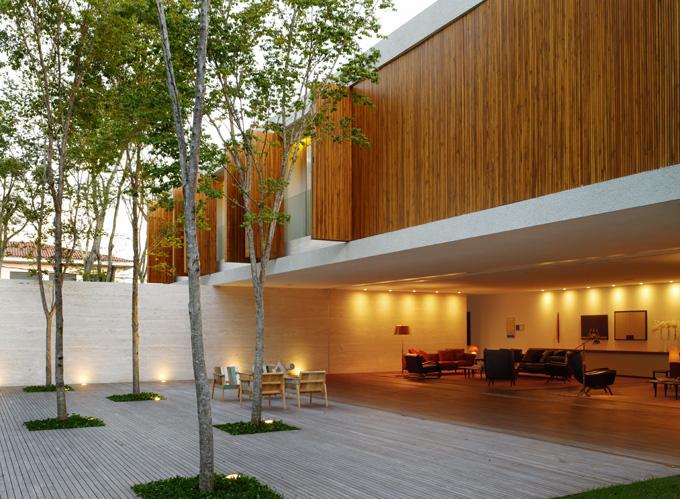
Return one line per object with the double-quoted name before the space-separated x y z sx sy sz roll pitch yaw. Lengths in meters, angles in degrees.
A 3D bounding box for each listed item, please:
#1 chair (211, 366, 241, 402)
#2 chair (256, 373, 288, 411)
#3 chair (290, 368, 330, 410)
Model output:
"chair" -2.941 3.508 13.878 0.704 0.824 0.884 7 -10 -9
"chair" -1.536 3.192 12.049 0.521 0.699 0.555 2 -8 -27
"chair" -0.866 3.410 13.162 0.797 0.940 1.053 3 -6 -34
